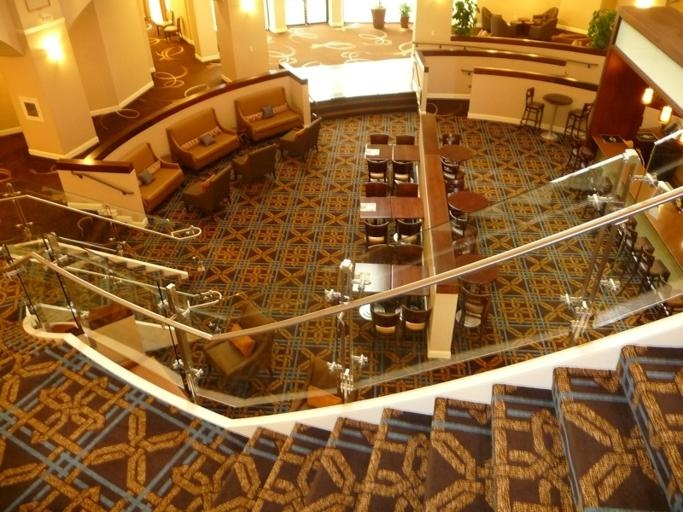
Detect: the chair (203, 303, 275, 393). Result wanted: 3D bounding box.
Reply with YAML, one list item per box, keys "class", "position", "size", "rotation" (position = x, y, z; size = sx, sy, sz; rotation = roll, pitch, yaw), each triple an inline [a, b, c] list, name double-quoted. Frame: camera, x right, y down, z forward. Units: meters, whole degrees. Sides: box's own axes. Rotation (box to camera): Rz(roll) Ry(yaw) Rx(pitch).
- class: "chair"
  position: [-1.316, 1.126, 5.773]
  size: [0.922, 0.808, 0.839]
  rotation: [13, 33, 12]

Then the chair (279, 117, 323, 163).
- class: "chair"
  position: [-0.957, -2.814, 10.775]
  size: [0.911, 0.864, 0.825]
  rotation: [1, 47, -1]

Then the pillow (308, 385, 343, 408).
- class: "pillow"
  position: [-0.129, 1.277, 4.202]
  size: [0.300, 0.141, 0.062]
  rotation: [8, 2, 29]

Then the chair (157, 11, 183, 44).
- class: "chair"
  position: [-6.028, -8.074, 16.281]
  size: [0.730, 0.822, 0.831]
  rotation: [-19, 42, -22]

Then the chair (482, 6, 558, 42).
- class: "chair"
  position: [6.195, -8.102, 16.175]
  size: [2.453, 0.866, 1.713]
  rotation: [10, 38, 13]

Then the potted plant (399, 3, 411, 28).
- class: "potted plant"
  position: [2.516, -9.432, 18.178]
  size: [0.431, 0.818, 0.580]
  rotation: [4, 39, 5]
